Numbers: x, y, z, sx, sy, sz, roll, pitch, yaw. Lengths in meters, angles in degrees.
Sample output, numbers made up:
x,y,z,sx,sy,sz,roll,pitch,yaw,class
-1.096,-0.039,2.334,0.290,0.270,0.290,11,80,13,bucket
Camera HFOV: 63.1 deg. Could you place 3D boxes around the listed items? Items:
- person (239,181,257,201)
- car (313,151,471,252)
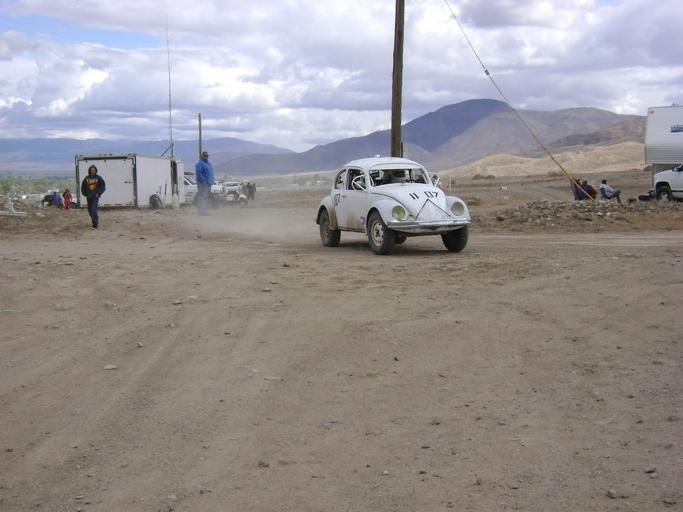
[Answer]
x,y,z,sx,sy,sz,roll,pitch,yaw,class
-6.609,-4.349,39.387,1.533,0.953,2.234,1,15,-6,person
1.209,-1.358,14.097,2.136,1.841,3.721,-2,3,-28,car
